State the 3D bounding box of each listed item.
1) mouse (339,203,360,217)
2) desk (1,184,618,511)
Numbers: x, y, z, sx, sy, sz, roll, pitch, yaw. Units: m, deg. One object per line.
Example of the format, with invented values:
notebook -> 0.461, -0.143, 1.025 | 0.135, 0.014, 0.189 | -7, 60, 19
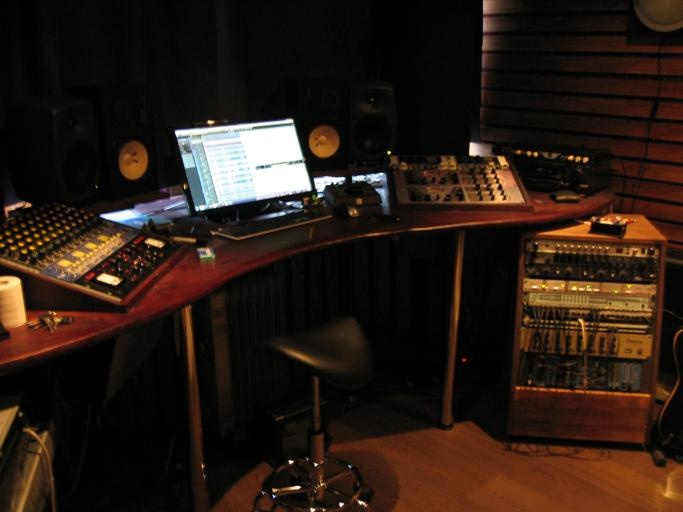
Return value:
mouse -> 0.049, -0.209, 2.754 | 0.047, 0.028, 0.078 | -10, 24, -21
desk -> -0.068, 0.507, 2.559 | 2.371, 1.239, 0.745 | -13, 18, -34
